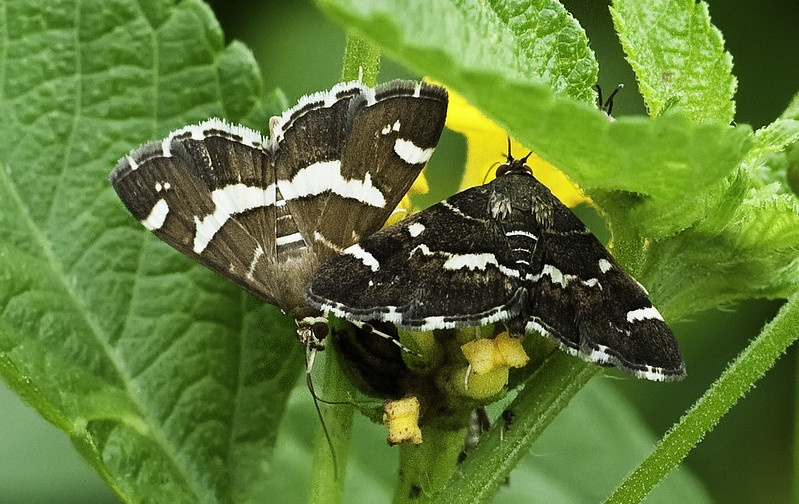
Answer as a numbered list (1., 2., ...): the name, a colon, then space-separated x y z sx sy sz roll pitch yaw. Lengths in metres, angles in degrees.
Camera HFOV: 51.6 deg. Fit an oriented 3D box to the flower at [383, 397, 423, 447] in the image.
1. flower: 0.007 0.361 1.772 0.079 0.075 0.077 -3 39 -4
